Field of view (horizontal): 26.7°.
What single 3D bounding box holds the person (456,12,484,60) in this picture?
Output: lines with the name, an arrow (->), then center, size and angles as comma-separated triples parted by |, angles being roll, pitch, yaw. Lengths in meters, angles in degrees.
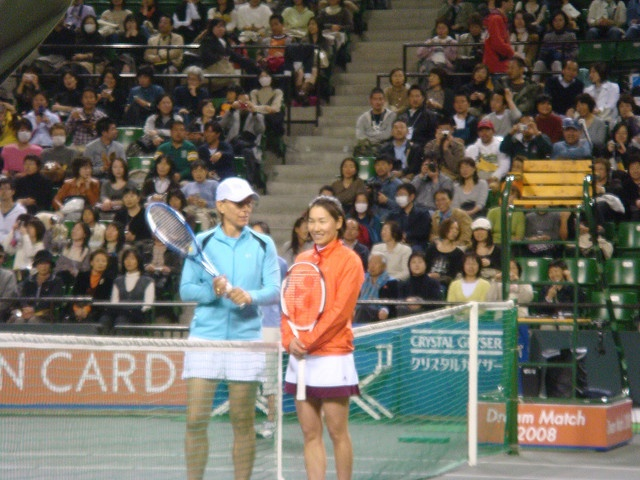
person -> 3.017, -4.011, 26.918 | 0.524, 0.895, 0.948 | -2, 4, 7

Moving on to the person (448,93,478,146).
person -> 2.594, -2.143, 24.727 | 0.632, 1.089, 0.582 | 2, -17, -1

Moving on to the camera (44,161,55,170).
camera -> -4.967, -1.342, 24.851 | 0.149, 0.168, 0.043 | 4, -22, -6

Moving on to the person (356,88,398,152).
person -> 0.990, -2.103, 24.931 | 0.891, 1.355, 0.687 | -6, 10, -31

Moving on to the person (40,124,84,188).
person -> -4.876, -1.369, 25.124 | 0.638, 1.589, 0.766 | 2, -2, 1

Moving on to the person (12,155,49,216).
person -> -5.304, -0.800, 24.802 | 0.660, 1.484, 0.782 | 2, 7, 1

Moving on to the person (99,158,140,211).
person -> -3.612, -0.903, 23.924 | 0.577, 1.047, 0.703 | 0, -2, -2

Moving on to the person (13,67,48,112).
person -> -5.911, -2.985, 27.349 | 0.544, 1.054, 0.245 | 3, 8, 0

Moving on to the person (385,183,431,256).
person -> 1.462, -0.314, 22.734 | 0.699, 1.291, 0.684 | 1, 12, 27

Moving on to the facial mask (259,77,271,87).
facial mask -> -1.026, -2.945, 25.306 | 0.143, 0.159, 0.197 | -1, 44, 2

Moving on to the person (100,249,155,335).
person -> -3.144, 0.963, 21.659 | 0.727, 1.684, 0.932 | 4, 0, 23

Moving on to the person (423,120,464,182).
person -> 2.185, -1.418, 23.821 | 0.588, 1.264, 0.638 | 3, -8, 24

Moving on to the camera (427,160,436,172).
camera -> 1.932, -1.243, 23.166 | 0.154, 0.204, 0.184 | -2, 4, 11

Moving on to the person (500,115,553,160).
person -> 3.615, -1.632, 23.619 | 0.790, 1.143, 0.563 | 0, 9, 14

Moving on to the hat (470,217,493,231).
hat -> 2.618, -0.247, 21.836 | 0.211, 0.187, 0.227 | -1, -15, 4

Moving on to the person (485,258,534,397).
person -> 2.676, 1.315, 18.993 | 0.619, 2.384, 0.750 | 0, -33, 9

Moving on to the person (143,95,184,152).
person -> -2.904, -2.271, 25.663 | 0.817, 0.778, 1.467 | -6, 7, -19

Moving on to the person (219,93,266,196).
person -> -1.421, -1.730, 24.931 | 0.744, 1.932, 1.037 | -8, -2, -18

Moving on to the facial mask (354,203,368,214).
facial mask -> 0.695, -0.509, 22.633 | 0.139, 0.122, 0.181 | 1, 9, 5

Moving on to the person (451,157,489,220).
person -> 2.492, -0.801, 22.995 | 0.755, 1.078, 0.876 | -6, 9, -1

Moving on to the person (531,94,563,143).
person -> 4.050, -2.102, 24.245 | 0.596, 1.051, 0.611 | -2, -11, 14

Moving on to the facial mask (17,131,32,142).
facial mask -> -5.596, -1.933, 25.557 | 0.193, 0.191, 0.196 | 1, 6, -6

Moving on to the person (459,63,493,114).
person -> 2.958, -2.750, 25.336 | 0.534, 1.094, 0.571 | 6, 1, -21

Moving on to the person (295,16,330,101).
person -> -0.173, -3.520, 26.805 | 0.721, 1.686, 1.479 | -3, 4, 2

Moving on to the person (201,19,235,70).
person -> -2.032, -3.759, 26.911 | 0.701, 1.240, 0.829 | -3, 5, 2

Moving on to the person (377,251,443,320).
person -> 1.431, 0.872, 21.098 | 0.787, 1.383, 0.731 | 12, 21, 26

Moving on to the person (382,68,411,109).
person -> 1.448, -2.778, 25.566 | 0.541, 0.974, 0.546 | 0, -5, 17

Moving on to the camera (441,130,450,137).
camera -> 2.204, -1.844, 23.603 | 0.115, 0.102, 0.115 | -2, 4, 10

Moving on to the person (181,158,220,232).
person -> -2.134, -0.554, 23.482 | 0.616, 1.618, 0.876 | 1, 3, 8

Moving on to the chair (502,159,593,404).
chair -> 3.215, 0.624, 19.412 | 1.495, 3.697, 1.987 | -1, -11, 17
